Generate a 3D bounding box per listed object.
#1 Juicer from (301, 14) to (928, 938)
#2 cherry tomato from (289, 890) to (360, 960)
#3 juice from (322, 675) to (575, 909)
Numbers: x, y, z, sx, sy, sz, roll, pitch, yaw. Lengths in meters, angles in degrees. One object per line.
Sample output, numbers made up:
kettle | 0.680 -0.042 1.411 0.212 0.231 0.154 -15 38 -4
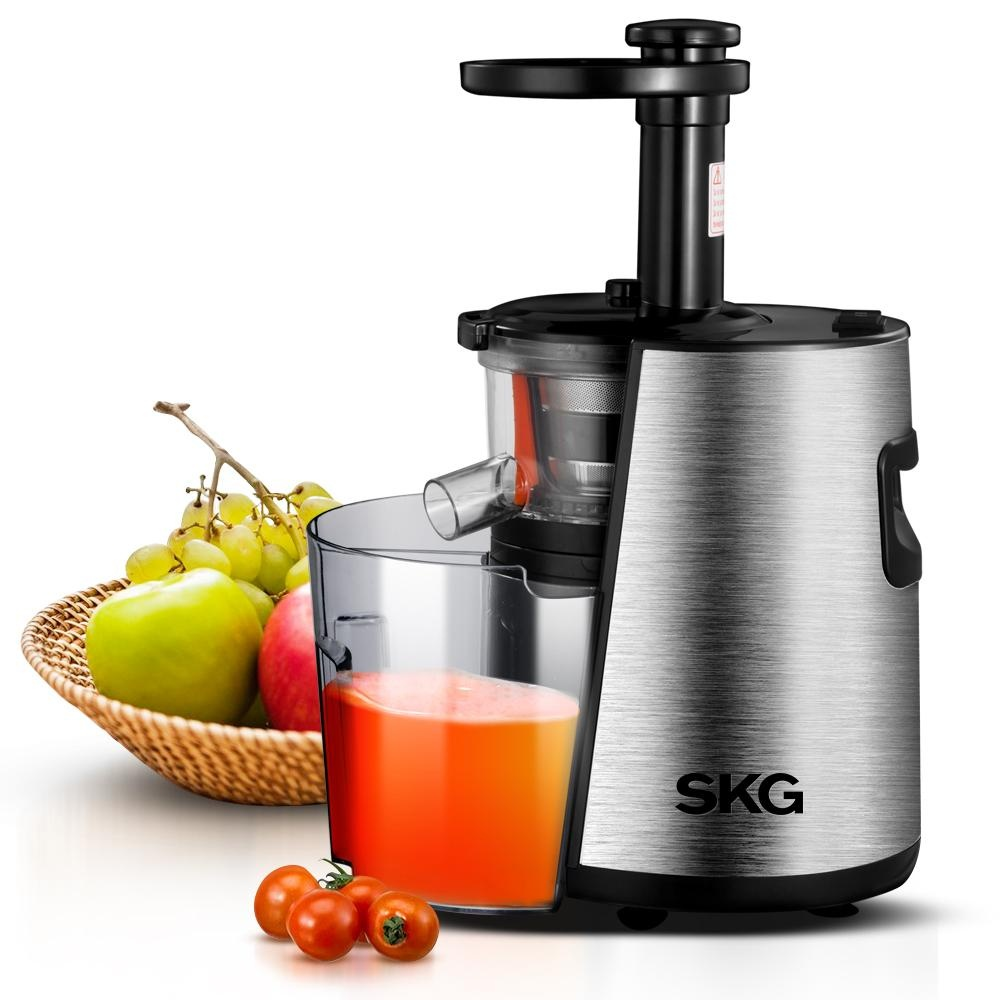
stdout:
Juicer | 0.113 -0.025 1.149 0.610 0.851 0.437 -1 18 -3
cherry tomato | -0.145 0.380 1.082 0.076 0.058 0.073 -13 -24 30
juice | -0.056 0.292 1.198 0.293 0.154 0.195 -1 -5 31
